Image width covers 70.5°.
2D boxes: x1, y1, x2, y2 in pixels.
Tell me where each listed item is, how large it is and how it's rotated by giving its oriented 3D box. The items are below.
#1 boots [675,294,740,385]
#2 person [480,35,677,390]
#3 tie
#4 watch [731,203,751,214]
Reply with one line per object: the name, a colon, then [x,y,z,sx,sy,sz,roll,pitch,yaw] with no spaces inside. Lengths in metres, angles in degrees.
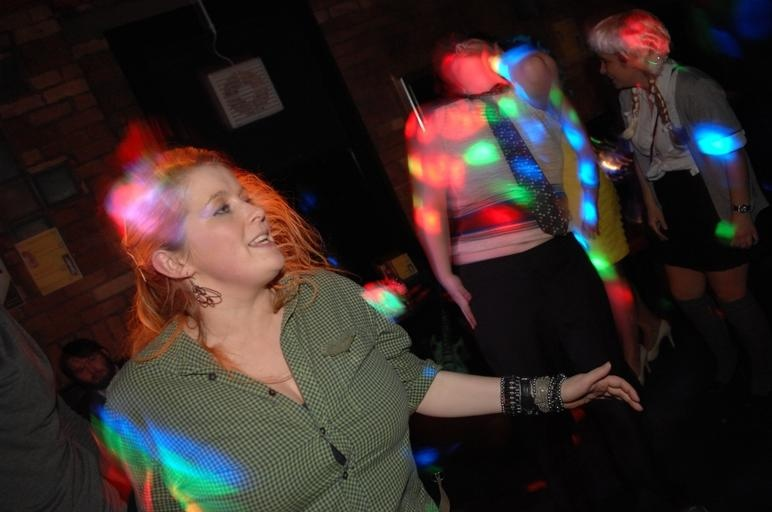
boots: [2.117,0.645,3.725,0.162,0.662,0.297,-16,-17,-7]
person: [1.285,-0.364,3.366,0.333,2.297,0.889,-8,-15,-47]
tie: [0.724,-0.454,2.819,0.244,0.883,0.042,-26,1,19]
watch: [2.104,-0.275,3.220,0.086,0.050,0.077,-4,6,-8]
